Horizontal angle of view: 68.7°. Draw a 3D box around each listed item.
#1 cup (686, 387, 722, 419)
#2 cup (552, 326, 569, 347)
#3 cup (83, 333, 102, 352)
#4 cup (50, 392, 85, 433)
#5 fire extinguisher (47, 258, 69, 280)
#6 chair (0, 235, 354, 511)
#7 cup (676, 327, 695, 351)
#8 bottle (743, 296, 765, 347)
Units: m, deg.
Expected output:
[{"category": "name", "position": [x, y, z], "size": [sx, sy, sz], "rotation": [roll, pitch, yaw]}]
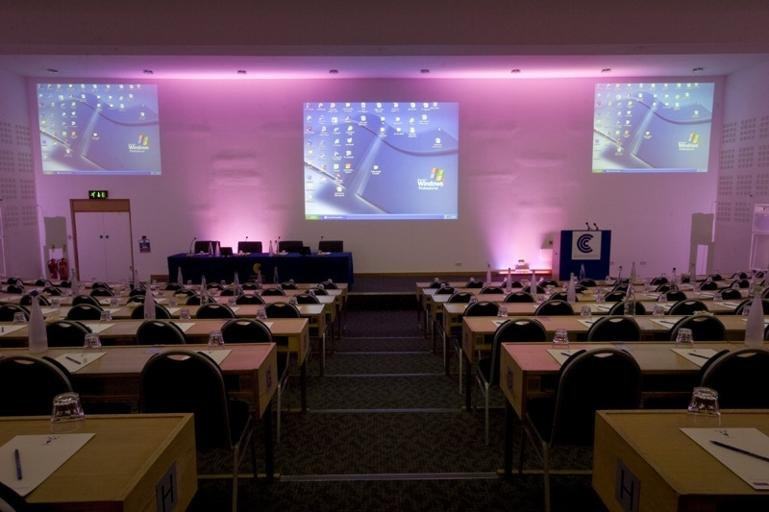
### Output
[{"category": "cup", "position": [2.549, 1.161, 4.498], "size": [0.246, 0.228, 0.212], "rotation": [2, 4, 24]}, {"category": "cup", "position": [1.757, 0.820, 5.706], "size": [0.185, 0.205, 0.148], "rotation": [0, -2, -1]}, {"category": "cup", "position": [-2.936, 0.875, 5.665], "size": [0.152, 0.147, 0.153], "rotation": [0, 2, 0]}, {"category": "cup", "position": [-2.487, 1.228, 4.514], "size": [0.312, 0.314, 0.229], "rotation": [0, 3, -19]}, {"category": "fire extinguisher", "position": [-7.533, 0.301, 12.973], "size": [0.438, 0.627, 0.363], "rotation": [-4, 4, -43]}, {"category": "chair", "position": [-2.008, 1.389, 6.564], "size": [2.199, 1.484, 2.825], "rotation": [-1, 5, 3]}, {"category": "cup", "position": [3.001, 0.831, 5.631], "size": [0.144, 0.133, 0.243], "rotation": [4, 26, 15]}, {"category": "bottle", "position": [3.561, 0.610, 5.414], "size": [0.139, 0.511, 0.353], "rotation": [2, 6, 33]}]
